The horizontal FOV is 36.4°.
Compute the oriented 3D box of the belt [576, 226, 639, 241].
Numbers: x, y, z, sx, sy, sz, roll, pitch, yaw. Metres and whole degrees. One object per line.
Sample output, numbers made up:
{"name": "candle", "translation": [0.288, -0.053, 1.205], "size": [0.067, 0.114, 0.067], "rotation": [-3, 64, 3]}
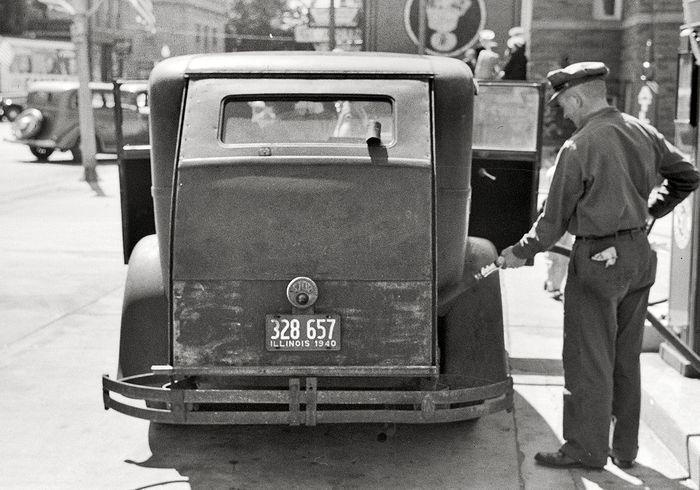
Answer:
{"name": "belt", "translation": [1.720, -0.080, 6.981], "size": [0.432, 0.107, 0.099], "rotation": [2, 15, 4]}

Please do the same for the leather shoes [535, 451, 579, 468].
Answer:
{"name": "leather shoes", "translation": [1.421, 1.438, 7.308], "size": [0.297, 0.120, 0.110], "rotation": [7, 1, 11]}
